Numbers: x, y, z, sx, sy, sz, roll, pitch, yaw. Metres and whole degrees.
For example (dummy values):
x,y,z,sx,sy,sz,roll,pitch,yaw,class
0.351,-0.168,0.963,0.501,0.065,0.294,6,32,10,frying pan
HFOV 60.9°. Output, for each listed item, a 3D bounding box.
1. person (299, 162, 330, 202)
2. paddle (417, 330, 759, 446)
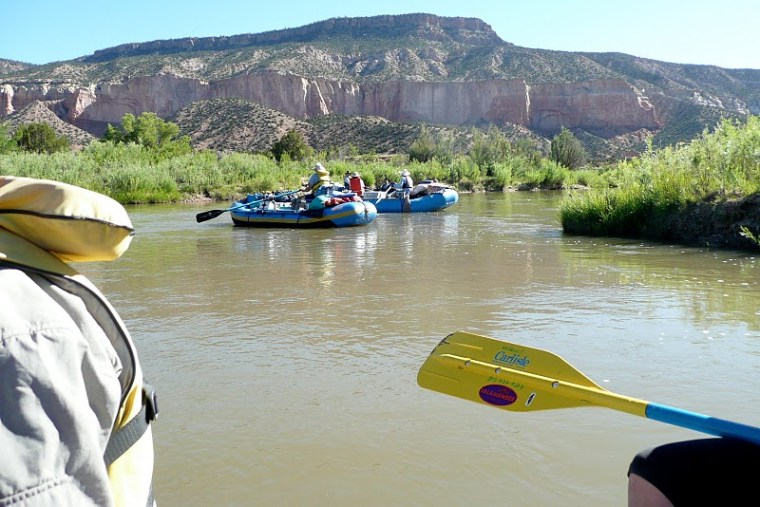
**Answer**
x,y,z,sx,sy,sz,roll,pitch,yaw,class
-2.021,-2.209,20.137,0.638,1.142,0.929,-8,11,-28,person
0.985,0.761,3.651,0.415,0.348,1.825,-11,13,-43,paddle
